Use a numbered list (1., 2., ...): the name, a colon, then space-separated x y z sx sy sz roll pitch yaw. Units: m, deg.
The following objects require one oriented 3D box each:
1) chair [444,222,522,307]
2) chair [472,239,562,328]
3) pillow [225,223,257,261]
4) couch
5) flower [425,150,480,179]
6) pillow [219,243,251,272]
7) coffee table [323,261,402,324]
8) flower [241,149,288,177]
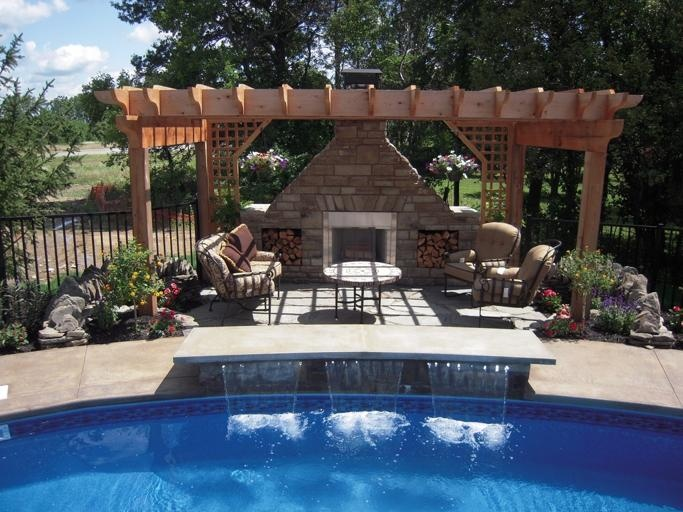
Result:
1. chair: 2.471 0.104 9.029 1.065 1.371 1.149 13 18 42
2. chair: 2.715 0.380 8.198 1.404 1.335 1.421 -5 11 -16
3. pillow: -1.887 -0.186 8.894 0.186 0.582 0.593 -21 17 27
4. couch: -1.694 0.332 8.462 1.300 1.255 1.494 -2 11 -7
5. flower: 2.747 -2.249 12.600 1.075 0.807 1.152 4 12 16
6. pillow: -1.729 0.050 8.163 0.450 0.149 0.439 36 17 -46
7. coffee table: 0.305 0.510 8.658 1.189 0.788 1.954 -1 11 -2
8. flower: -2.233 -2.695 14.411 0.993 0.717 2.811 -3 12 -13
